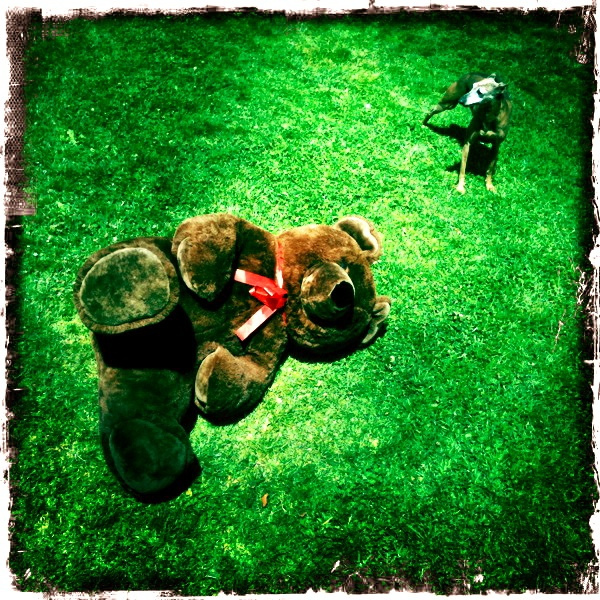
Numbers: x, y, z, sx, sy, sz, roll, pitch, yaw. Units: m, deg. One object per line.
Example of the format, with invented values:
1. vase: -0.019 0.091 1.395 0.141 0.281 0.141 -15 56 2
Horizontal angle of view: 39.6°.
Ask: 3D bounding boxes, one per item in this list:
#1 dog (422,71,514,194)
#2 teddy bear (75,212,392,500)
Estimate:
1. dog: 1.066 -1.147 5.190 0.417 0.755 1.154 5 33 1
2. teddy bear: -0.374 0.039 4.359 1.873 1.203 0.631 -25 2 -32
